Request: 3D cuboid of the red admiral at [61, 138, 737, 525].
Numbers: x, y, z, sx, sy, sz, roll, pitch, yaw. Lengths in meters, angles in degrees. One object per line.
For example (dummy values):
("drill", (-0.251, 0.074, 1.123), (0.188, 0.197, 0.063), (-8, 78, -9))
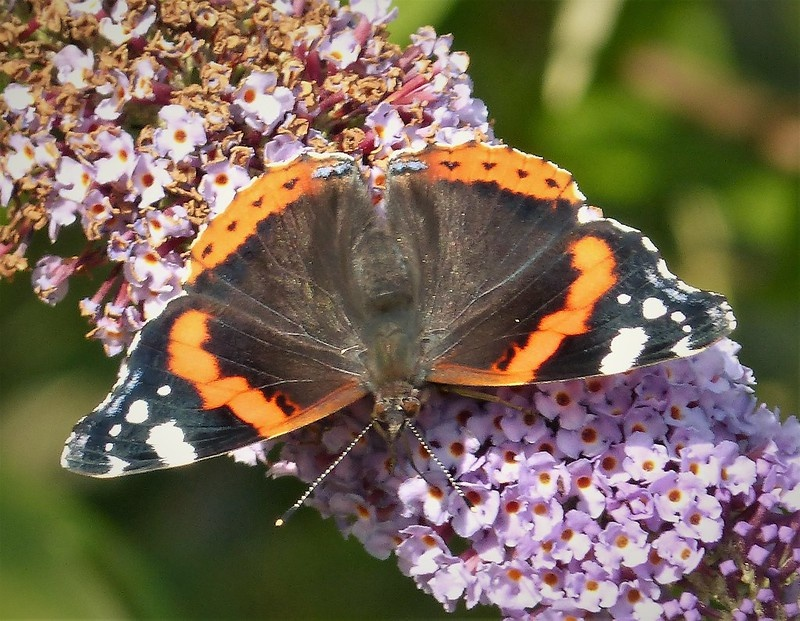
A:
("red admiral", (-0.033, -0.032, 1.966), (1.454, 0.284, 0.593), (-15, 75, 33))
